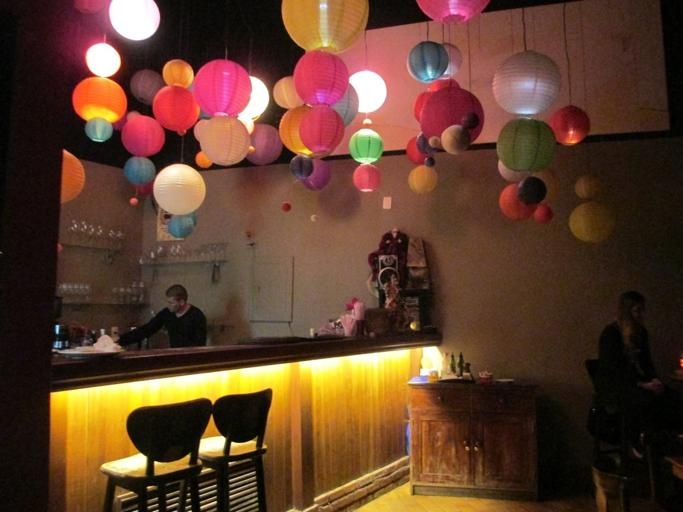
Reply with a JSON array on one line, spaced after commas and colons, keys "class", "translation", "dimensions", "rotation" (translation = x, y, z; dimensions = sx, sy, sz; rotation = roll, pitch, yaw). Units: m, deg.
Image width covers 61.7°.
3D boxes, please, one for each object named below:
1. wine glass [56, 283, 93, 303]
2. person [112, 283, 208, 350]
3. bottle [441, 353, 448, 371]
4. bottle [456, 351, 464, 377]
[{"class": "wine glass", "translation": [-3.243, 0.446, 6.905], "dimensions": [0.291, 0.219, 0.162], "rotation": [-4, 7, -35]}, {"class": "person", "translation": [-1.996, 0.687, 6.494], "dimensions": [0.839, 0.677, 0.541], "rotation": [-6, -8, 31]}, {"class": "bottle", "translation": [1.180, 1.195, 6.476], "dimensions": [0.081, 0.198, 0.308], "rotation": [-2, -7, 10]}, {"class": "bottle", "translation": [1.318, 1.201, 6.332], "dimensions": [0.070, 0.234, 0.443], "rotation": [-2, -7, 11]}]
